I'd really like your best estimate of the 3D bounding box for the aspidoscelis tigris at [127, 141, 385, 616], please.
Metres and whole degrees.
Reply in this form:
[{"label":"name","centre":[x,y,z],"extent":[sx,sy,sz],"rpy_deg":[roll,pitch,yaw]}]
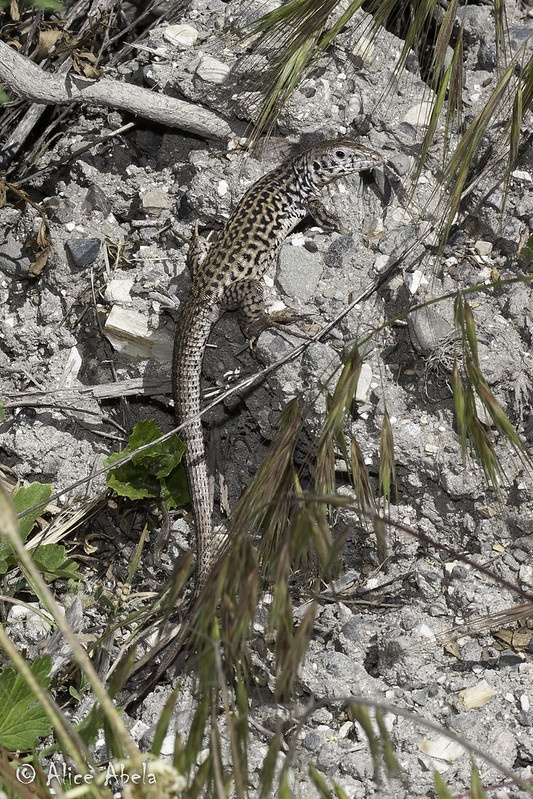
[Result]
[{"label":"aspidoscelis tigris","centre":[-0.128,-0.233,3.192],"extent":[0.674,1.784,0.268],"rpy_deg":[28,3,13]}]
